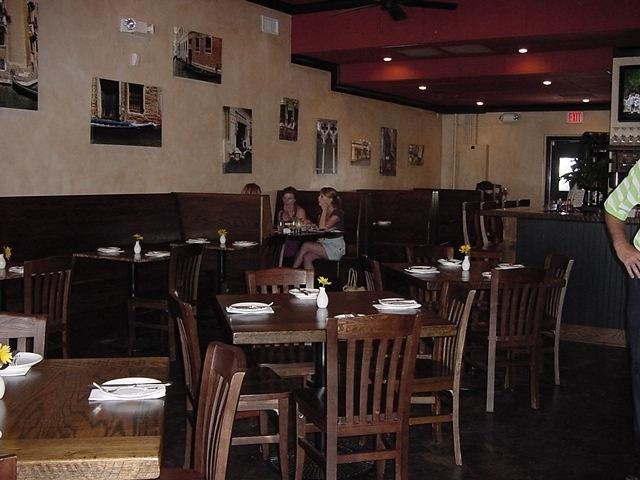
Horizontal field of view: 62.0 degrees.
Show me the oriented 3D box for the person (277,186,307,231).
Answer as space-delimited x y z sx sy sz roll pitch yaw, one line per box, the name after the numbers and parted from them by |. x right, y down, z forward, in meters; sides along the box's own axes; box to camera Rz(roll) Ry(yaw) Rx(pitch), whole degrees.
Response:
-0.457 -0.411 8.410 0.626 0.718 0.451 -4 -5 24 | person

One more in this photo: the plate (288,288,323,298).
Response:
-0.117 0.374 3.739 0.200 0.033 0.265 0 7 -3 | plate

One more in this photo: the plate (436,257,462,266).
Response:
1.235 0.221 5.078 0.202 0.036 0.249 1 7 6 | plate

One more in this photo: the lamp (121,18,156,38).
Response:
-2.362 -2.760 6.900 0.417 0.134 0.150 1 11 -45 | lamp

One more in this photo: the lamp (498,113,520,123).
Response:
5.317 -3.471 15.012 0.540 0.266 0.440 2 7 17 | lamp

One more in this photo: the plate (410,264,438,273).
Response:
0.912 0.260 4.702 0.249 0.032 0.288 1 7 10 | plate

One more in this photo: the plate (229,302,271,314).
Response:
-0.436 0.418 3.311 0.289 0.037 0.249 -1 7 -7 | plate
